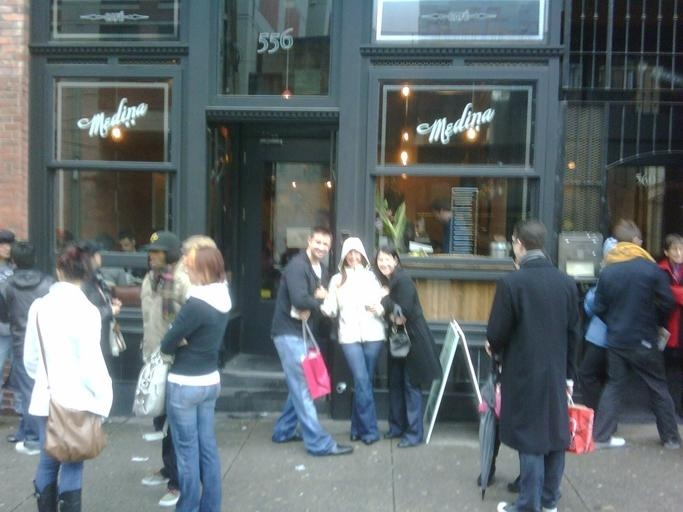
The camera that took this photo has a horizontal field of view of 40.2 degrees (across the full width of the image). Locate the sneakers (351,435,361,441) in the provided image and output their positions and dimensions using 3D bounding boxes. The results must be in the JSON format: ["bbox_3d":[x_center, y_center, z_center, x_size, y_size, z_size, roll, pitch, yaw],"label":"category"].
[{"bbox_3d":[0.143,1.979,10.081,0.118,0.061,0.044,-1,-1,22],"label":"sneakers"}]

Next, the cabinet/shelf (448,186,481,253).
[{"bbox_3d":[1.413,-0.311,10.786,0.302,0.882,0.286,1,-24,10],"label":"cabinet/shelf"}]

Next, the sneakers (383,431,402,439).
[{"bbox_3d":[0.550,1.963,10.171,0.188,0.097,0.076,6,-1,-11],"label":"sneakers"}]

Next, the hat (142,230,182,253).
[{"bbox_3d":[-1.812,-0.134,9.545,0.388,0.246,0.290,9,-5,-31],"label":"hat"}]

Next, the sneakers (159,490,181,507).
[{"bbox_3d":[-1.671,2.370,9.087,0.118,0.135,0.305,3,-4,10],"label":"sneakers"}]

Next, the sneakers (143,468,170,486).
[{"bbox_3d":[-1.861,2.220,9.361,0.269,0.133,0.138,4,-2,-7],"label":"sneakers"}]

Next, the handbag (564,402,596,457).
[{"bbox_3d":[2.246,1.632,8.823,0.232,0.437,0.238,1,6,10],"label":"handbag"}]

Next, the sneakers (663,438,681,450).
[{"bbox_3d":[3.525,2.011,9.938,0.098,0.091,0.137,-3,-9,-44],"label":"sneakers"}]

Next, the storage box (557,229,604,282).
[{"bbox_3d":[2.700,0.092,10.581,0.449,0.616,0.319,-1,-28,19],"label":"storage box"}]

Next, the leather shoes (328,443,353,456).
[{"bbox_3d":[-0.002,2.049,9.851,0.286,0.148,0.108,-6,7,-8],"label":"leather shoes"}]

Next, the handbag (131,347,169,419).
[{"bbox_3d":[-1.758,1.182,8.756,0.348,0.670,0.314,0,6,7],"label":"handbag"}]

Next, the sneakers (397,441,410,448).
[{"bbox_3d":[0.652,2.016,9.945,0.111,0.058,0.064,8,-7,-37],"label":"sneakers"}]

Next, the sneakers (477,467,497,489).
[{"bbox_3d":[1.453,2.215,9.319,0.176,0.313,0.153,2,-2,-9],"label":"sneakers"}]
